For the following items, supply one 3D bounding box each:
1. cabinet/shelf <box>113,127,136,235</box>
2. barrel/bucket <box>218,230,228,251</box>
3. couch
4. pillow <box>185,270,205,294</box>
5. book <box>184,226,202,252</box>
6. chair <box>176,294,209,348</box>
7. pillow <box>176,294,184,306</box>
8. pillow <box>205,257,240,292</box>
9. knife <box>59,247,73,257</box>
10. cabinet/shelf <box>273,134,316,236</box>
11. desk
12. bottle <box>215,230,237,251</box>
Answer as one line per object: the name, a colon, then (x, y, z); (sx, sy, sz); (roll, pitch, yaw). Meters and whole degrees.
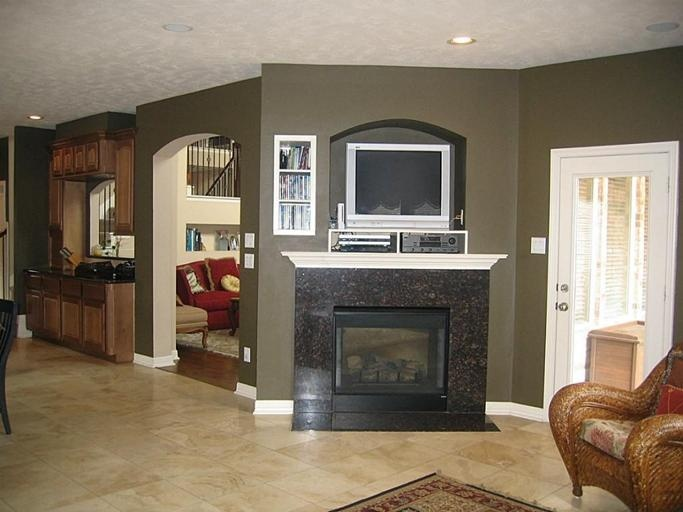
cabinet/shelf: (-2.835, -0.942, 7.464); (0.146, 1.338, 0.476); (-5, 9, -43)
barrel/bucket: (-2.242, -0.269, 10.708); (0.210, 0.356, 0.149); (-1, 6, -13)
couch: (-2.058, 0.653, 8.751); (0.568, 0.912, 1.111); (2, 3, 41)
pillow: (-2.299, 0.401, 8.945); (0.241, 0.366, 0.551); (0, 6, -1)
book: (-2.675, -0.275, 10.232); (0.272, 0.459, 0.481); (-1, -1, 26)
chair: (-2.099, 0.971, 8.021); (0.428, 0.663, 0.793); (-1, 6, -15)
pillow: (-2.353, 0.658, 8.323); (0.042, 0.129, 0.096); (-28, -29, 16)
pillow: (-1.992, 0.250, 9.549); (0.667, 0.629, 0.189); (6, -26, -40)
knife: (-4.035, -0.053, 8.393); (0.159, 0.096, 0.099); (32, -6, -2)
cabinet/shelf: (-0.456, -0.680, 5.619); (0.423, 0.973, 0.152); (0, 6, -7)
desk: (2.673, 0.894, 5.521); (0.394, 0.653, 0.676); (8, 27, 30)
bottle: (-2.164, -0.257, 10.760); (0.432, 0.422, 0.288); (2, -3, -12)
